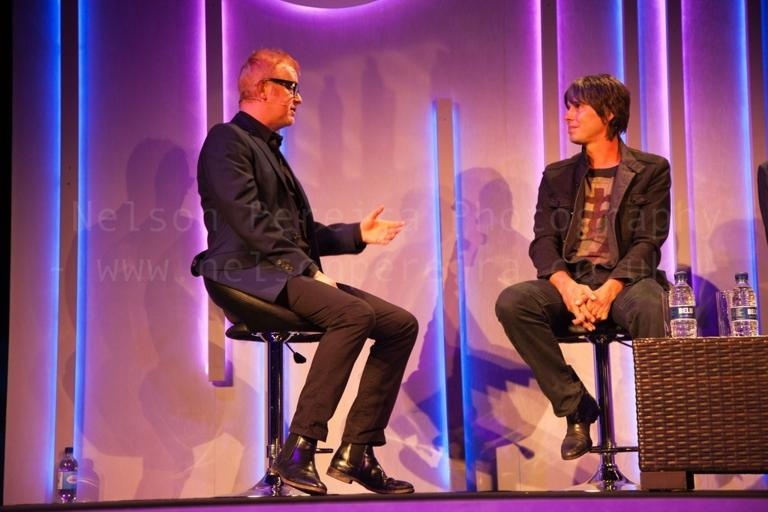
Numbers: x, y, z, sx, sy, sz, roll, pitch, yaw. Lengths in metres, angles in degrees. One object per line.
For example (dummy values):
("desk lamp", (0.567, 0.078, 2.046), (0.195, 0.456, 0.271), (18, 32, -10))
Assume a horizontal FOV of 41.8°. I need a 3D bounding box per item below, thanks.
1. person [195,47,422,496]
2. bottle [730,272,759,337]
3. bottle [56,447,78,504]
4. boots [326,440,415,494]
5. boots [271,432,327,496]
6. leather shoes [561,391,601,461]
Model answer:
("person", (-0.409, 0.047, 5.079), (1.100, 2.273, 0.545), (-2, -7, 2))
("bottle", (1.719, 0.241, 4.813), (0.121, 0.315, 0.450), (-4, -8, 19))
("bottle", (-1.740, 1.198, 5.520), (0.110, 0.286, 0.069), (1, -8, -18))
("boots", (-0.146, 1.048, 4.978), (0.558, 0.265, 0.181), (10, -11, -12))
("boots", (-0.399, 0.969, 4.775), (0.320, 0.239, 0.123), (13, -8, 44))
("leather shoes", (0.998, 0.862, 5.086), (0.193, 0.324, 0.224), (-3, -8, 11))
